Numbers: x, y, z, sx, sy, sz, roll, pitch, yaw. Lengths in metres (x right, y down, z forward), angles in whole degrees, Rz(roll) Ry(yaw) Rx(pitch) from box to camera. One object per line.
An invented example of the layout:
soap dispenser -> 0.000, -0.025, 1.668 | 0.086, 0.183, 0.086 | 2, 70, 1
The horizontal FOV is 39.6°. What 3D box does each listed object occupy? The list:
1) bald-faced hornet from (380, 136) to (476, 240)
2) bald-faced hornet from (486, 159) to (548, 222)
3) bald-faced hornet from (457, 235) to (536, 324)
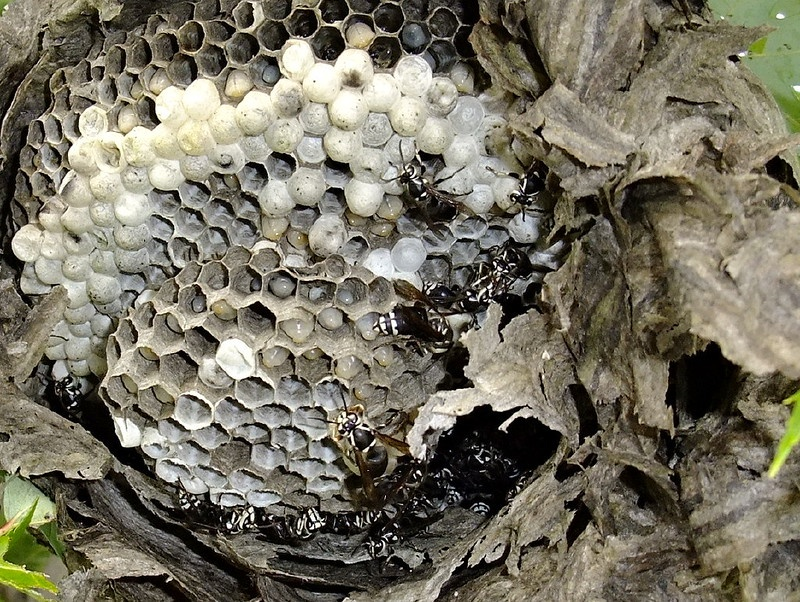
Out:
bald-faced hornet -> 0.085, -0.348, 3.461 | 0.205, 0.281, 0.083 | -42, 28, -6
bald-faced hornet -> 0.404, -0.358, 3.497 | 0.125, 0.051, 0.168 | 20, 45, 5
bald-faced hornet -> 0.316, -0.074, 3.621 | 0.180, 0.107, 0.264 | 47, 108, 10
